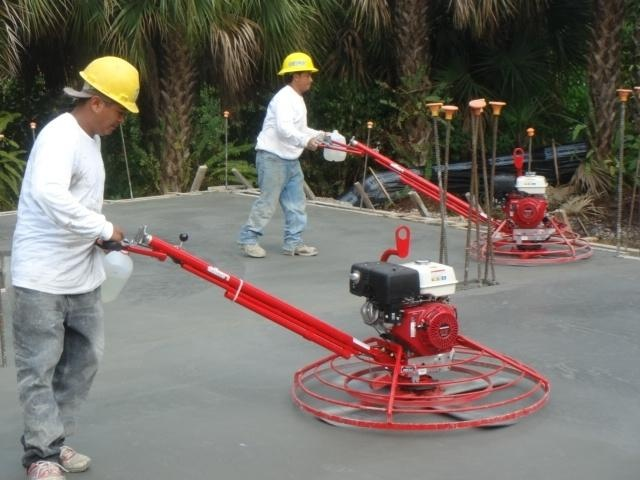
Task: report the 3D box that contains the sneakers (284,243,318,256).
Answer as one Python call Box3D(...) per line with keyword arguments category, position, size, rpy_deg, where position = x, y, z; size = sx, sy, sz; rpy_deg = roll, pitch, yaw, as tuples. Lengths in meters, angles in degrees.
Box3D(category="sneakers", position=(-0.213, 0.115, 8.035), size=(0.316, 0.153, 0.157), rpy_deg=(-2, 6, -4))

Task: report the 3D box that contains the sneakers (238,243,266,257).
Box3D(category="sneakers", position=(-0.762, 0.103, 7.931), size=(0.278, 0.126, 0.131), rpy_deg=(4, 1, 44))

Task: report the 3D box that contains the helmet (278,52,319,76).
Box3D(category="helmet", position=(-0.238, -1.897, 7.740), size=(0.344, 0.217, 0.248), rpy_deg=(-2, 13, -4))

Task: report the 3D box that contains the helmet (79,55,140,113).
Box3D(category="helmet", position=(-1.129, -0.848, 3.887), size=(0.399, 0.241, 0.327), rpy_deg=(16, 5, -13))

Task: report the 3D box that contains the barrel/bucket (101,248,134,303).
Box3D(category="barrel/bucket", position=(-1.149, 0.193, 4.047), size=(0.202, 0.265, 0.255), rpy_deg=(13, 18, -15))

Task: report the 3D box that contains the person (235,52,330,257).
Box3D(category="person", position=(-0.403, -0.921, 7.929), size=(0.905, 2.209, 1.070), rpy_deg=(-1, 13, -1))
